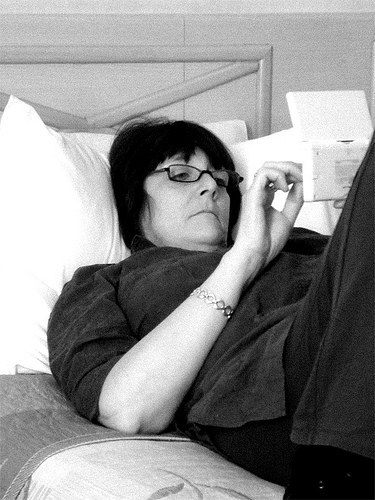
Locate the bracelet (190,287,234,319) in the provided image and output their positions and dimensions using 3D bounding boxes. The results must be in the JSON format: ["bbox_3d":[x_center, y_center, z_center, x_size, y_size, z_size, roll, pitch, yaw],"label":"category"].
[{"bbox_3d":[0.033,0.076,0.985,0.083,0.007,0.027,29,50,21],"label":"bracelet"}]
